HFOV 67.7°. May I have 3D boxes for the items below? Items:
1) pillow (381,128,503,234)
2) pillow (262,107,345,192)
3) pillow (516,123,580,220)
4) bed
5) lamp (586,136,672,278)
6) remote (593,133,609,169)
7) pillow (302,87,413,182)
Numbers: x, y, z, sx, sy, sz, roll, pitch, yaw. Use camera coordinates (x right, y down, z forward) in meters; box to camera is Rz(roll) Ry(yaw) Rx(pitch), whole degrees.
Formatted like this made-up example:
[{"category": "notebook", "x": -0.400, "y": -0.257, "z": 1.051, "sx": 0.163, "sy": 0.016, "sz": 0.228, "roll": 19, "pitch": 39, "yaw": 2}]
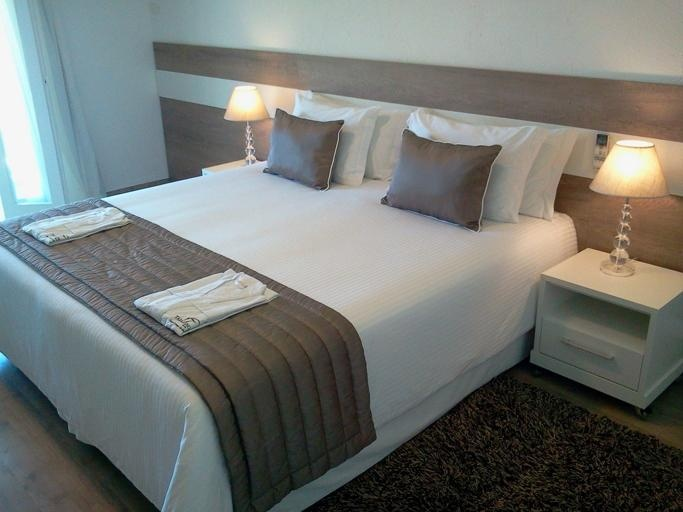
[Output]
[{"category": "pillow", "x": 0.608, "y": -0.417, "z": 2.918, "sx": 0.559, "sy": 0.375, "sz": 0.220, "roll": 17, "pitch": 30, "yaw": 38}, {"category": "pillow", "x": -0.240, "y": -0.731, "z": 3.552, "sx": 0.560, "sy": 0.406, "sz": 0.214, "roll": 24, "pitch": 31, "yaw": 35}, {"category": "pillow", "x": 1.198, "y": -0.480, "z": 2.925, "sx": 0.445, "sy": 0.462, "sz": 0.138, "roll": 21, "pitch": 10, "yaw": 29}, {"category": "bed", "x": 0.013, "y": 0.228, "z": 2.381, "sx": 1.928, "sy": 0.538, "sz": 1.938, "roll": 20, "pitch": 30, "yaw": 41}, {"category": "lamp", "x": 1.509, "y": -0.266, "z": 2.703, "sx": 0.339, "sy": 0.650, "sz": 0.401, "roll": 20, "pitch": 32, "yaw": 31}, {"category": "remote", "x": 1.451, "y": -0.589, "z": 2.846, "sx": 0.081, "sy": 0.195, "sz": 0.021, "roll": 1, "pitch": 6, "yaw": -10}, {"category": "pillow", "x": 0.165, "y": -0.833, "z": 3.544, "sx": 0.696, "sy": 0.684, "sz": 0.210, "roll": 16, "pitch": 9, "yaw": 30}]
